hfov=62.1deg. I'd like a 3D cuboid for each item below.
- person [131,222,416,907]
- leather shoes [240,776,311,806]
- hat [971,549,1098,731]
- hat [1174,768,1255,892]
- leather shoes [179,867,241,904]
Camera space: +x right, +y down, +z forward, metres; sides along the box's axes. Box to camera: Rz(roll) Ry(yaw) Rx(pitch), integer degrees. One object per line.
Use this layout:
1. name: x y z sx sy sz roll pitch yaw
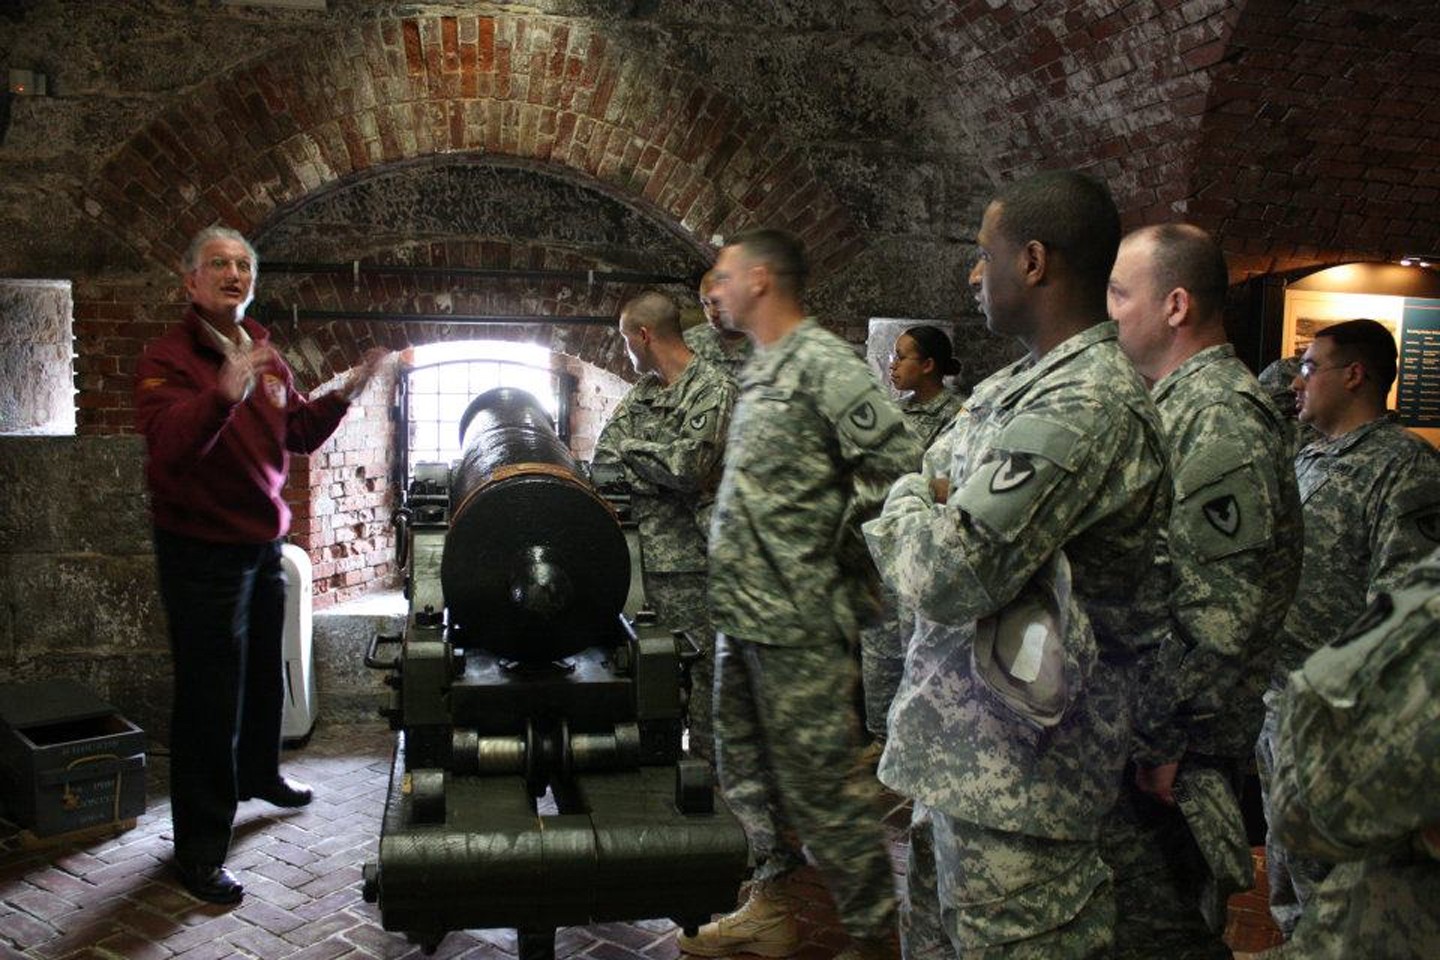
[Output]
1. person: -2.341 0.366 5.737 0.791 3.131 1.285 0 0 -11
2. leather shoes: -2.314 1.605 6.273 0.402 0.156 0.129 9 28 -40
3. hat: 0.919 0.452 3.459 0.393 0.488 0.189 -3 -6 8
4. hat: 1.622 1.137 3.886 0.259 0.357 0.100 0 -18 -35
5. leather shoes: -2.335 1.850 5.527 0.332 0.110 0.128 6 6 27
